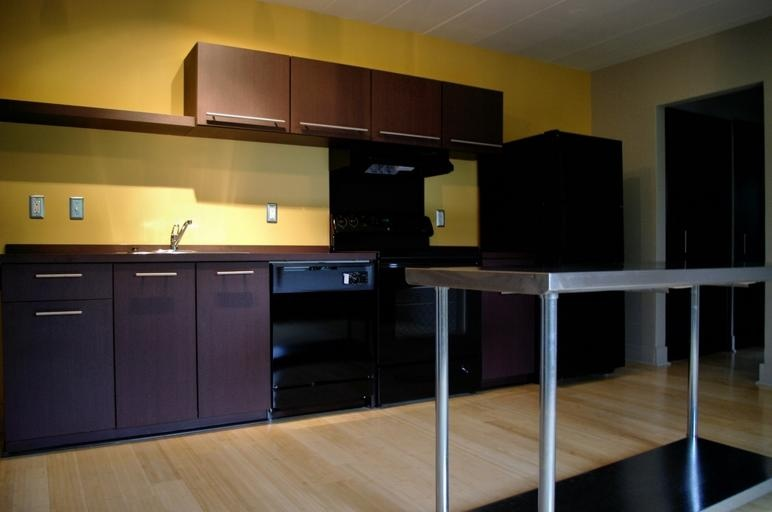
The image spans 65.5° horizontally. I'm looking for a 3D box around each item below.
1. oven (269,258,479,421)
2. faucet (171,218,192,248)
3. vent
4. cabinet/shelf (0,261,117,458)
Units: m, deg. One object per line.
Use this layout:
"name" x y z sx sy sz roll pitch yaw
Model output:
"oven" -0.183 0.540 4.775 1.707 1.089 0.882 -2 0 -20
"faucet" -1.483 -0.149 4.330 0.164 0.207 0.182 -4 10 -19
"vent" 0.105 -0.773 4.856 0.486 0.111 0.338 3 -9 -24
"cabinet/shelf" -2.018 0.598 3.691 0.631 1.105 0.172 -4 10 -18
